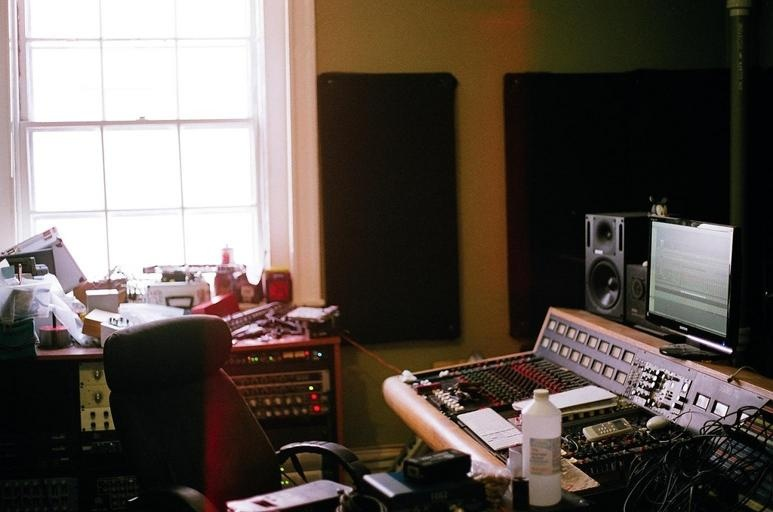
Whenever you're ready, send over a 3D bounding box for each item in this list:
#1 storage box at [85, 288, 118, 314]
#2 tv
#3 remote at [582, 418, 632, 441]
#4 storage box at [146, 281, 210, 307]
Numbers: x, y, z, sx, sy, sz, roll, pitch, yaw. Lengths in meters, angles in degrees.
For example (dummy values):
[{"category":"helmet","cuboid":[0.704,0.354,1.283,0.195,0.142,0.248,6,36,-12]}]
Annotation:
[{"category":"storage box","cuboid":[-1.663,0.261,3.810,0.220,0.200,0.118,1,1,-14]},{"category":"tv","cuboid":[1.366,0.155,2.869,0.208,0.617,0.628,-3,2,-16]},{"category":"remote","cuboid":[0.916,0.725,2.683,0.179,0.027,0.082,-9,19,-19]},{"category":"storage box","cuboid":[-1.289,0.236,3.963,0.288,0.163,0.193,-2,6,-4]}]
